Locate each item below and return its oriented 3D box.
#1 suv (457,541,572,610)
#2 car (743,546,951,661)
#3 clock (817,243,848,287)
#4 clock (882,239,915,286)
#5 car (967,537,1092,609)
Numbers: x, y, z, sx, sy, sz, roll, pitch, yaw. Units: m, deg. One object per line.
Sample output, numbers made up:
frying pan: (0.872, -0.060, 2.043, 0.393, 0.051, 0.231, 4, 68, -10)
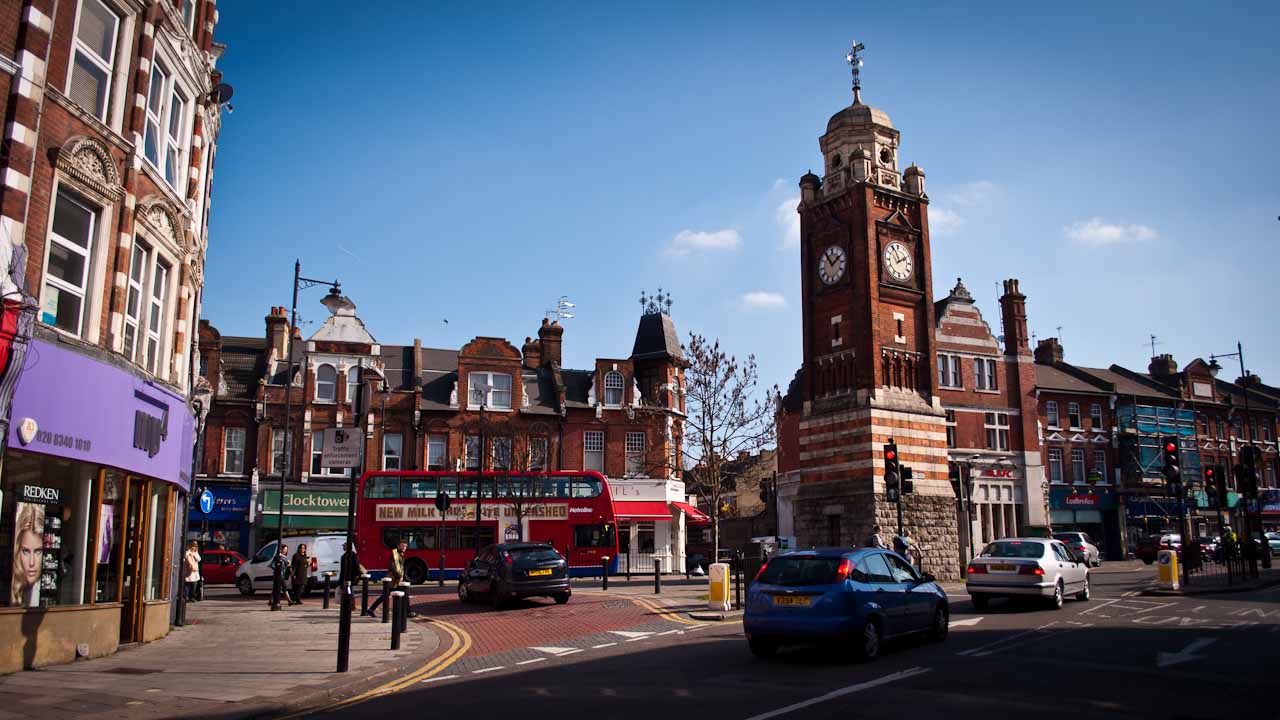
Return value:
suv: (-4.465, 8.035, 41.557, 4.713, 2.212, 3.839, -16, -22, 41)
car: (5.597, 6.567, 30.387, 5.193, 3.009, 1.879, 7, -19, -25)
clock: (9.708, -4.775, 55.694, 0.180, 1.829, 1.893, 13, 14, -30)
clock: (12.738, -4.831, 55.072, 2.321, 2.139, 0.161, 9, -14, -36)
car: (12.990, 7.071, 36.998, 3.934, 2.295, 1.986, 9, -19, -31)
